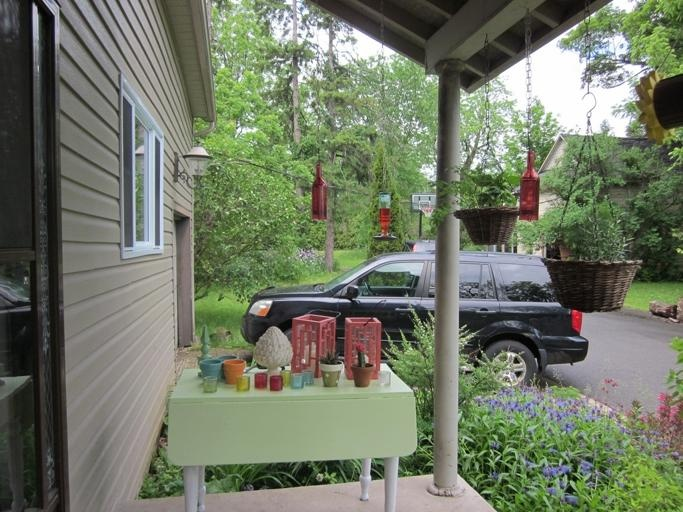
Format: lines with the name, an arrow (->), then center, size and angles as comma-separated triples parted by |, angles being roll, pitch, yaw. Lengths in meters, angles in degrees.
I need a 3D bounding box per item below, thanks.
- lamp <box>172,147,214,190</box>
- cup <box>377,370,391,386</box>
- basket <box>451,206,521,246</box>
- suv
lamp -> -1.949, -1.208, 6.409 | 0.437, 0.596, 0.388 | -2, 9, -25
cup -> 0.264, 0.772, 3.069 | 0.065, 0.071, 0.071 | 0, -4, 0
basket -> 0.969, -0.215, 3.229 | 0.312, 0.177, 0.279 | -1, -10, -3
suv -> 0.966, 0.610, 6.684 | 4.048, 1.587, 1.911 | 2, -3, 3
